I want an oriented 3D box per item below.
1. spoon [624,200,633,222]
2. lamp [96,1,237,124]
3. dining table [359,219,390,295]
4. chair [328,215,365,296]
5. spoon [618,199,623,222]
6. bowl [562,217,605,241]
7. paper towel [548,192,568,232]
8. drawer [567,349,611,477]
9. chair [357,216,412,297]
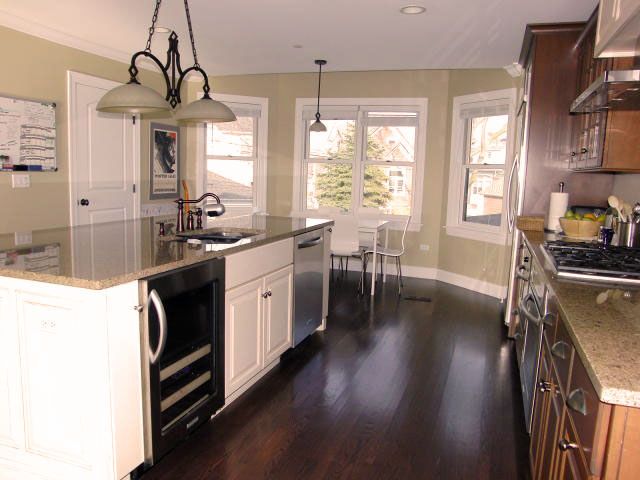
[{"bbox_3d":[2.113,-0.198,3.166,0.044,0.031,0.211,0,49,20],"label":"spoon"},{"bbox_3d":[-1.514,-1.748,4.425,1.332,1.395,0.760,-3,14,-41],"label":"lamp"},{"bbox_3d":[0.718,0.224,6.045,0.554,0.808,0.781,2,11,12],"label":"dining table"},{"bbox_3d":[0.395,0.195,5.767,0.502,0.822,0.469,9,-5,-3],"label":"chair"},{"bbox_3d":[2.063,-0.202,3.182,0.030,0.170,0.024,20,-32,-17],"label":"spoon"},{"bbox_3d":[1.991,-0.102,3.519,0.193,0.118,0.195,0,3,0],"label":"bowl"},{"bbox_3d":[2.001,-0.243,3.898,0.137,0.316,0.264,6,12,26],"label":"paper towel"},{"bbox_3d":[0.873,0.558,1.546,0.046,0.259,0.355,4,11,13],"label":"drawer"},{"bbox_3d":[0.815,0.172,5.853,0.651,0.991,0.640,0,7,0],"label":"chair"}]
